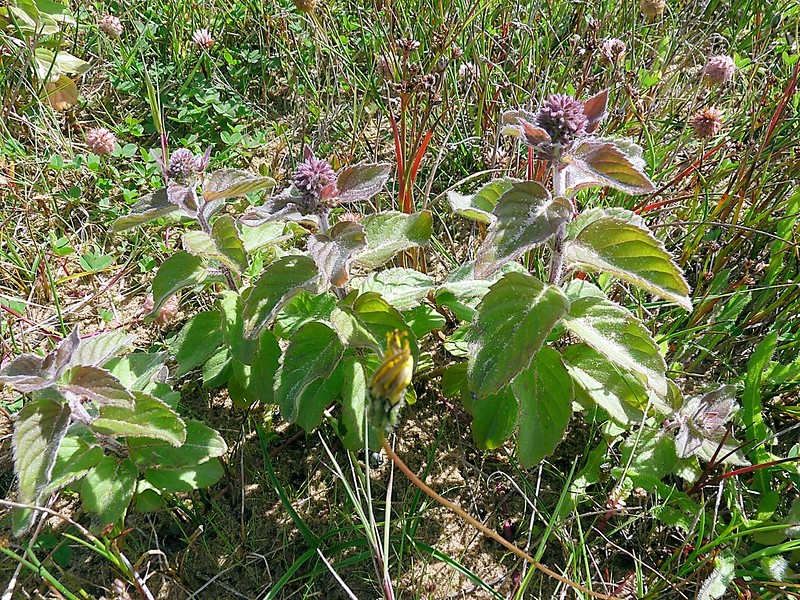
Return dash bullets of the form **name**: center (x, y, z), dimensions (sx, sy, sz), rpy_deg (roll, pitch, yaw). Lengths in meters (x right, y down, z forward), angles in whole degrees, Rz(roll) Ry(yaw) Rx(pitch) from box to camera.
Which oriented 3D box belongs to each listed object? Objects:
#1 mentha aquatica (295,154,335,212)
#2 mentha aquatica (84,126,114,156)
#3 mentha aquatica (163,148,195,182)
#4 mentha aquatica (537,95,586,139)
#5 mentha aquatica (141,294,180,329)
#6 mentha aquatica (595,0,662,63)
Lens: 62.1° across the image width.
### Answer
- **mentha aquatica**: center (-0.405, -0.535, 3.139), dimensions (0.184, 0.239, 0.159), rpy_deg (16, 44, 15)
- **mentha aquatica**: center (-1.936, -1.017, 4.345), dimensions (0.188, 0.204, 0.199), rpy_deg (-5, 7, -19)
- **mentha aquatica**: center (-1.137, -0.686, 3.425), dimensions (0.157, 0.141, 0.137), rpy_deg (-18, 10, 19)
- **mentha aquatica**: center (0.735, -0.789, 3.039), dimensions (0.186, 0.200, 0.208), rpy_deg (1, 79, 7)
- **mentha aquatica**: center (-1.376, 0.060, 3.879), dimensions (0.222, 0.099, 0.245), rpy_deg (-19, 70, 27)
- **mentha aquatica**: center (1.597, -1.898, 4.694), dimensions (0.266, 0.289, 0.765), rpy_deg (-18, 12, 29)
